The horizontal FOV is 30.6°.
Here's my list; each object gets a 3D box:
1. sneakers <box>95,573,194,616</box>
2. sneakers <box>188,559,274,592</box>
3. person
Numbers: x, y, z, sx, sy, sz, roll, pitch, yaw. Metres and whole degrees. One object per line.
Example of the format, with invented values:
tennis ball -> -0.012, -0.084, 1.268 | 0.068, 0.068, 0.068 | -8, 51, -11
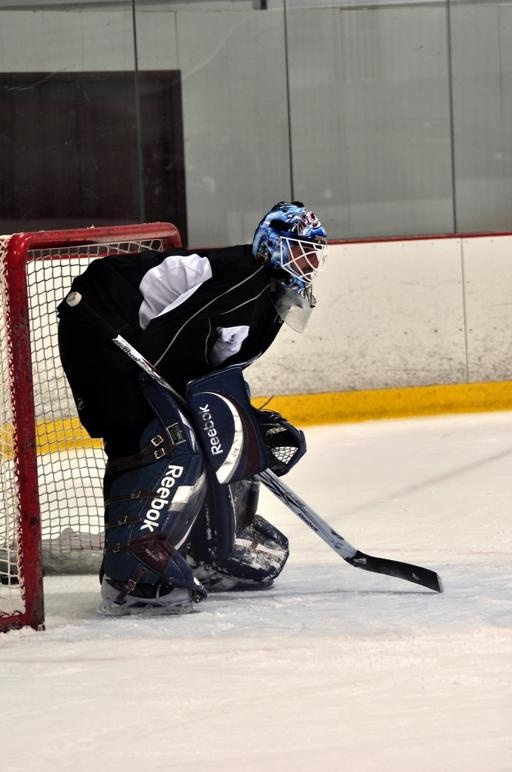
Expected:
sneakers -> -0.227, 0.439, 1.940 | 0.210, 0.080, 0.070 | -4, 16, -1
sneakers -> -0.057, 0.434, 2.122 | 0.169, 0.040, 0.086 | -5, 10, 14
person -> -0.016, 0.044, 2.441 | 0.888, 1.178, 0.611 | -1, 1, -7
